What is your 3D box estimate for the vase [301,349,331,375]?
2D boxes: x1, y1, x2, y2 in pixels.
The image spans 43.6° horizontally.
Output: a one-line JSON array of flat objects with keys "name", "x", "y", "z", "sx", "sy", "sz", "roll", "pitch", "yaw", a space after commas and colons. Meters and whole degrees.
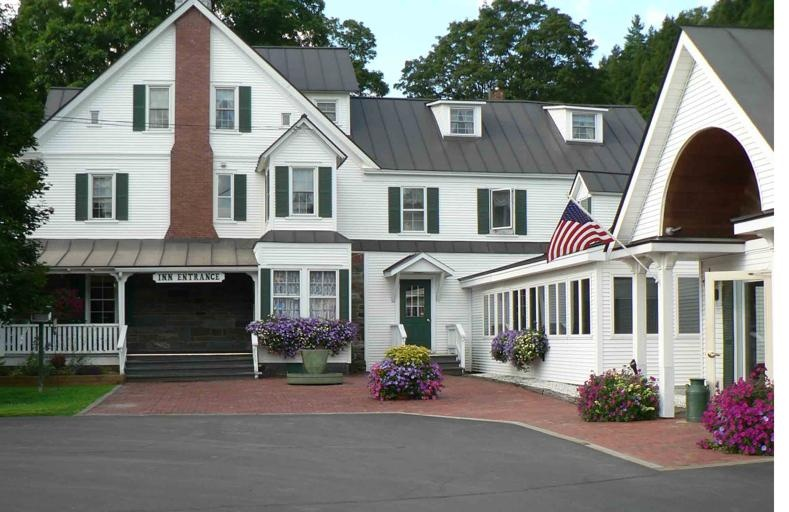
[{"name": "vase", "x": -2.612, "y": 3.560, "z": 32.836, "sx": 0.972, "sy": 0.714, "sz": 0.762, "roll": 1, "pitch": -10, "yaw": -6}]

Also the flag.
[{"name": "flag", "x": 5.598, "y": -0.656, "z": 28.855, "sx": 0.126, "sy": 2.026, "sz": 2.600, "roll": -2, "pitch": -3, "yaw": -43}]

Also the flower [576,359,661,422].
[{"name": "flower", "x": 5.648, "y": 3.381, "z": 24.840, "sx": 1.621, "sy": 1.161, "sz": 1.673, "roll": 3, "pitch": -8, "yaw": -26}]
